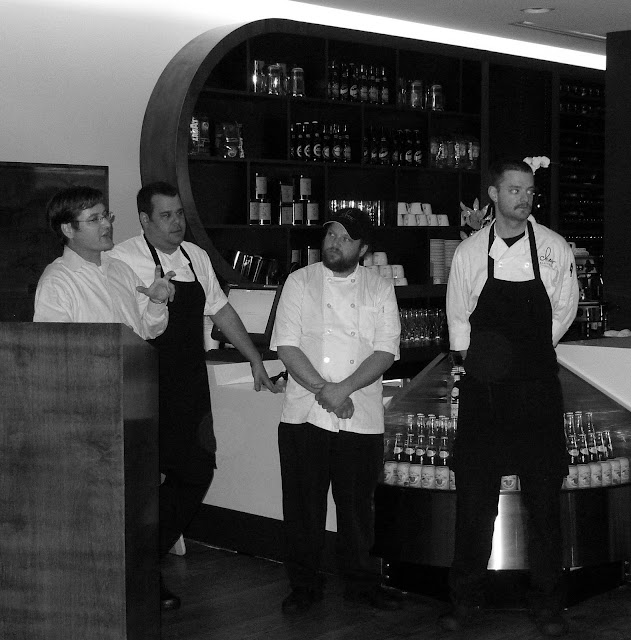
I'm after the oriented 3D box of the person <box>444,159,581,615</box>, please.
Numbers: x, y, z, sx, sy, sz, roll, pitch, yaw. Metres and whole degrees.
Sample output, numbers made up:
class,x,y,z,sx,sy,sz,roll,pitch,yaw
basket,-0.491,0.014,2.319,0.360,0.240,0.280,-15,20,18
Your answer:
class,x,y,z,sx,sy,sz,roll,pitch,yaw
person,0.787,0.370,2.762,0.504,1.788,0.174,-1,0,13

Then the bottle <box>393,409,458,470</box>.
class,x,y,z,sx,sy,sz,roll,pitch,yaw
bottle,0.475,0.532,3.027,0.193,0.238,0.221,1,1,-7

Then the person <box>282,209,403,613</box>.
class,x,y,z,sx,sy,sz,roll,pitch,yaw
person,0.090,0.362,2.813,0.508,1.580,0.395,-1,0,6

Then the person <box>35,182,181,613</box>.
class,x,y,z,sx,sy,sz,roll,pitch,yaw
person,-0.656,0.234,2.184,0.354,1.184,0.859,-1,0,-4
